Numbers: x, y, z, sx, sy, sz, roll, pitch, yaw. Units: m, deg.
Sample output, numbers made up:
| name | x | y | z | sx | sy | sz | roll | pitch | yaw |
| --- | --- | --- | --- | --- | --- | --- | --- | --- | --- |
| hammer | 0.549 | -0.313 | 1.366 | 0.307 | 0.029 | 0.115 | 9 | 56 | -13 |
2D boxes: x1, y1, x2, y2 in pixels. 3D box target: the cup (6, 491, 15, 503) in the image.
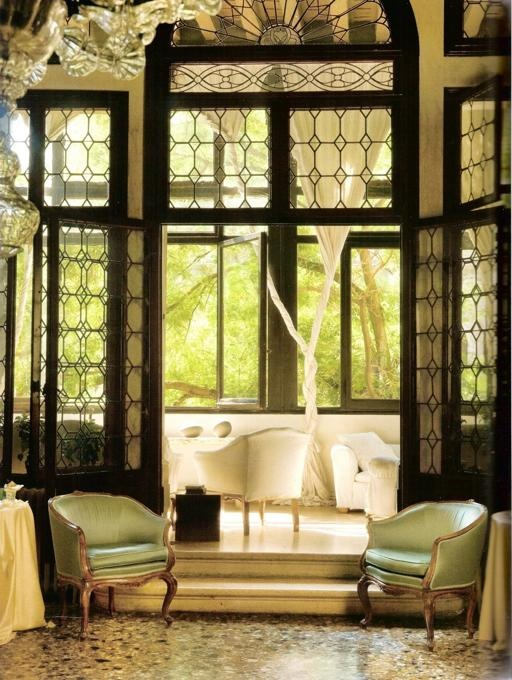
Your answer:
| name | x | y | z | sx | sy | sz | roll | pitch | yaw |
| --- | --- | --- | --- | --- | --- | --- | --- | --- | --- |
| cup | -1.381 | 0.882 | 4.616 | 0.050 | 0.048 | 0.043 | 0 | 1 | -37 |

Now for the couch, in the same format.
| name | x | y | z | sx | sy | sz | roll | pitch | yaw |
| --- | --- | --- | --- | --- | --- | --- | --- | --- | --- |
| couch | 1.152 | 1.281 | 7.736 | 0.786 | 0.796 | 0.765 | 2 | -9 | 9 |

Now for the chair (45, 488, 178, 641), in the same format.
| name | x | y | z | sx | sy | sz | roll | pitch | yaw |
| --- | --- | --- | --- | --- | --- | --- | --- | --- | --- |
| chair | -0.880 | 1.307 | 4.790 | 0.899 | 0.755 | 0.905 | 0 | -6 | 3 |

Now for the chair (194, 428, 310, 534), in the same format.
| name | x | y | z | sx | sy | sz | roll | pitch | yaw |
| --- | --- | --- | --- | --- | --- | --- | --- | --- | --- |
| chair | -0.023 | 1.134 | 6.720 | 0.769 | 0.885 | 0.763 | 3 | -3 | -27 |

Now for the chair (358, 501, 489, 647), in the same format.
| name | x | y | z | sx | sy | sz | roll | pitch | yaw |
| --- | --- | --- | --- | --- | --- | --- | --- | --- | --- |
| chair | 0.991 | 1.310 | 4.683 | 0.558 | 0.739 | 0.673 | 4 | -7 | -21 |
